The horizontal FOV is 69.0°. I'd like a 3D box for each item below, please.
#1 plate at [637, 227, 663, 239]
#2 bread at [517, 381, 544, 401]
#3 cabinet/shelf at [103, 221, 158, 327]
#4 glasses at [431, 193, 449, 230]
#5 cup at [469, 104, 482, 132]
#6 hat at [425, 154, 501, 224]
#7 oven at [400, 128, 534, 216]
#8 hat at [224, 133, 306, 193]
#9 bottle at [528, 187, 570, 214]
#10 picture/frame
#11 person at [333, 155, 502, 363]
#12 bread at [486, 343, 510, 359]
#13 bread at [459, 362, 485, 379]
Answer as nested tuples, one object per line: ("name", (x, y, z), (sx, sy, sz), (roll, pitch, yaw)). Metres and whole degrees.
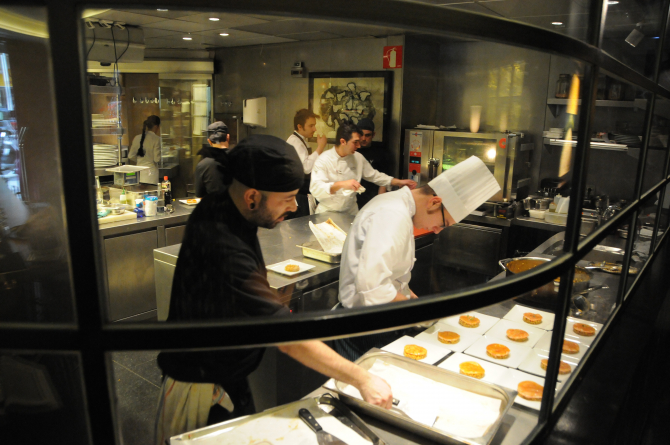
("plate", (1.481, 0.048, 2.307), (0.150, 0.061, 0.031), (-10, 8, -41))
("bread", (0.504, 0.428, 1.257), (0.060, 0.030, 0.068), (-2, 7, 22))
("cabinet/shelf", (-1.208, 0.312, 2.858), (0.224, 0.516, 0.479), (-3, 7, 14))
("glasses", (0.318, -0.037, 1.512), (0.026, 0.090, 0.091), (-9, -9, -3))
("cup", (1.047, -0.773, 3.628), (0.079, 0.202, 0.164), (-3, 7, 16))
("hat", (0.421, -0.110, 1.513), (0.165, 0.198, 0.171), (-26, -1, 0))
("oven", (1.018, -0.502, 3.852), (0.847, 0.471, 0.480), (9, 22, 25))
("hat", (-0.129, -0.106, 0.980), (0.150, 0.073, 0.099), (17, 34, -7))
("bottle", (1.412, -0.146, 3.195), (0.202, 0.074, 0.201), (-8, 15, 2))
("picture/frame", (0.079, -0.953, 4.017), (0.848, 0.562, 0.032), (13, 20, 39))
("person", (0.107, -0.021, 1.701), (0.630, 0.797, 0.560), (-3, 32, -9))
("bread", (0.467, 0.365, 1.394), (0.063, 0.025, 0.068), (-2, 7, 20))
("bread", (0.372, 0.394, 1.320), (0.067, 0.027, 0.061), (-3, 7, 13))
